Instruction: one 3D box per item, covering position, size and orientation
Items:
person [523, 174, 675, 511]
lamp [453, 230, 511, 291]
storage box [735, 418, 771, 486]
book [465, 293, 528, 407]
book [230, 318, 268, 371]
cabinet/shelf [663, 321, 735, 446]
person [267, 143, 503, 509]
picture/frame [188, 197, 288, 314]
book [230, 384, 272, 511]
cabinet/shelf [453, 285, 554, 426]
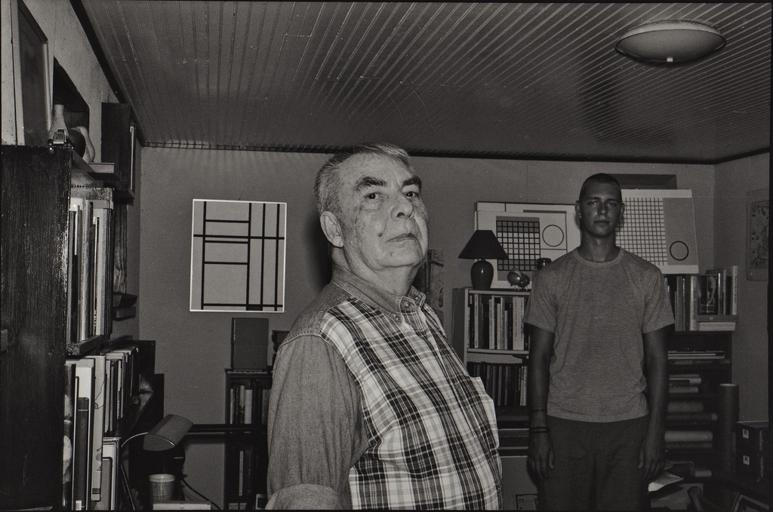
[{"bbox_3d":[1.089,0.437,4.466,0.732,1.723,0.329,-2,-10,2],"label":"person"},{"bbox_3d":[0.802,0.040,7.092,0.416,0.489,0.415,2,1,7],"label":"lamp"},{"bbox_3d":[2.436,1.303,5.705,0.214,0.396,0.458,-5,-11,20],"label":"storage box"},{"bbox_3d":[0.840,0.739,6.522,0.270,0.853,0.795,0,-9,11],"label":"book"},{"bbox_3d":[-1.116,0.735,7.231,0.393,0.564,0.399,-1,-1,0],"label":"book"},{"bbox_3d":[2.307,1.104,6.644,0.487,0.882,0.275,10,8,28],"label":"cabinet/shelf"},{"bbox_3d":[-0.010,0.283,3.355,0.869,1.403,0.275,3,-11,-24],"label":"person"},{"bbox_3d":[-1.298,0.040,7.298,0.962,1.076,0.038,1,0,-3],"label":"picture/frame"},{"bbox_3d":[-1.090,1.455,6.727,0.330,0.992,0.511,0,-10,-8],"label":"book"},{"bbox_3d":[0.781,0.664,5.626,0.348,1.012,1.053,0,-4,18],"label":"cabinet/shelf"}]
